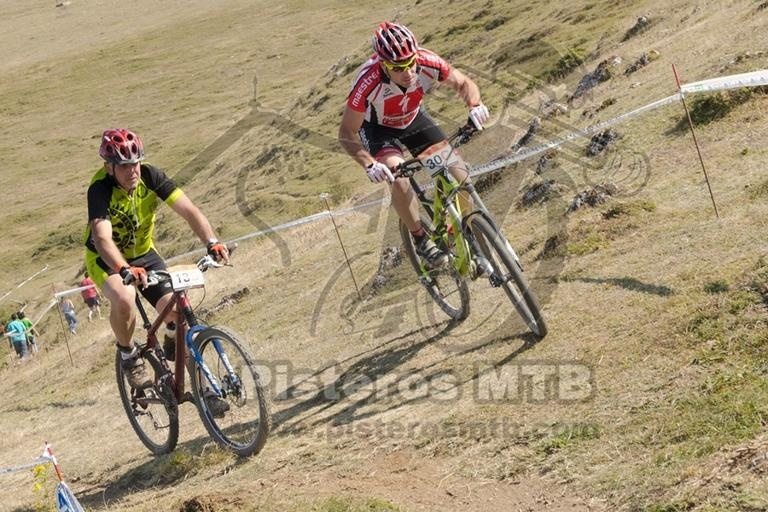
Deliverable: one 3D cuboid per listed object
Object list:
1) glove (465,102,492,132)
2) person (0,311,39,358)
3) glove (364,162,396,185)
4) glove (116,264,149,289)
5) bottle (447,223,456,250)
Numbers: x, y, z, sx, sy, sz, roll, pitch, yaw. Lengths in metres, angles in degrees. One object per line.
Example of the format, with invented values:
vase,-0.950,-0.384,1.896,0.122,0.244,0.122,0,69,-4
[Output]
glove,2.016,-3.144,25.089,0.573,0.589,0.245,-26,15,-33
person,-10.941,2.364,33.883,0.790,1.233,0.808,-25,20,-17
glove,-0.049,-1.858,24.886,0.545,0.656,0.483,-19,19,1
glove,-5.319,0.420,23.961,0.429,0.253,0.574,16,-4,-30
bottle,1.536,-0.473,25.279,0.154,0.421,0.290,-3,-10,-24
